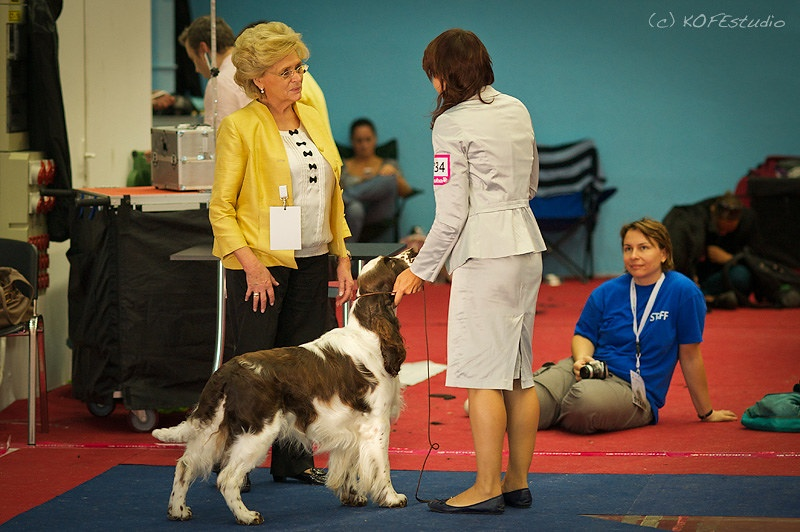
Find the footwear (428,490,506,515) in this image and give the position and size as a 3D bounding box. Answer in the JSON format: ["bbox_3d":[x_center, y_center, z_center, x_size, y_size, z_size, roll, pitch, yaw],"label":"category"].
[{"bbox_3d":[0.394,1.388,5.452,0.445,0.130,0.152,2,-5,9],"label":"footwear"}]

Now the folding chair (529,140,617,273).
[{"bbox_3d":[2.369,-0.975,12.934,1.251,2.429,1.210,-3,15,-8],"label":"folding chair"}]

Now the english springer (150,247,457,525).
[{"bbox_3d":[-0.661,0.663,5.964,1.395,1.555,1.604,0,1,-13],"label":"english springer"}]

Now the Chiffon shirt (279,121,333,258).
[{"bbox_3d":[-0.541,-0.462,5.746,0.311,0.806,0.347,1,0,2],"label":"Chiffon shirt"}]

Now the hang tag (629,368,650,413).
[{"bbox_3d":[1.702,0.888,6.723,0.018,0.356,0.283,-21,-24,34],"label":"hang tag"}]

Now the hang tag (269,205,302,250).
[{"bbox_3d":[-0.698,-0.236,5.649,0.287,0.340,0.030,-1,8,-8],"label":"hang tag"}]

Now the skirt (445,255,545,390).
[{"bbox_3d":[0.600,0.306,5.496,0.487,0.783,0.577,-5,-10,45],"label":"skirt"}]
